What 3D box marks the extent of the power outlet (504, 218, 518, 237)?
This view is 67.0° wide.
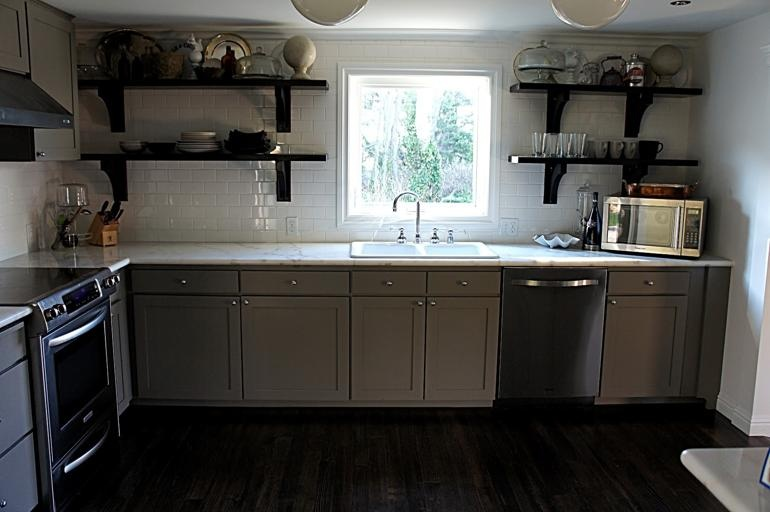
[{"bbox_3d":[1.061,-0.237,4.860,0.143,0.130,0.034,-4,8,-8],"label":"power outlet"}]

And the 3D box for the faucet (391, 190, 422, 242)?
[{"bbox_3d":[0.182,-0.341,4.813,0.245,0.407,0.362,1,11,1],"label":"faucet"}]

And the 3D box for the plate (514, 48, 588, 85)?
[{"bbox_3d":[1.279,-1.474,4.511,0.385,0.247,0.355,0,5,-6],"label":"plate"}]

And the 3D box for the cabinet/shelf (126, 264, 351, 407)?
[{"bbox_3d":[-1.027,0.602,4.479,1.675,1.019,0.536,-1,1,6],"label":"cabinet/shelf"}]

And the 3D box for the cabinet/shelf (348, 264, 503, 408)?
[{"bbox_3d":[0.231,0.605,4.495,1.210,1.047,0.572,2,-4,-20],"label":"cabinet/shelf"}]

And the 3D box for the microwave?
[{"bbox_3d":[2.117,-0.254,4.540,0.712,0.459,0.450,7,16,35],"label":"microwave"}]

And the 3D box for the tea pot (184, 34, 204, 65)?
[{"bbox_3d":[-1.486,-1.618,4.540,0.122,0.238,0.128,0,11,0],"label":"tea pot"}]

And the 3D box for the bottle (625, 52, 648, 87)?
[{"bbox_3d":[1.993,-1.479,4.635,0.206,0.261,0.160,-2,14,5],"label":"bottle"}]

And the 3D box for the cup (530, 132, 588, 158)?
[{"bbox_3d":[1.388,-0.879,4.599,0.312,0.124,0.232,-1,5,-17],"label":"cup"}]

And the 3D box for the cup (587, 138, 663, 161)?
[{"bbox_3d":[1.926,-0.856,4.647,0.471,0.124,0.251,2,4,13],"label":"cup"}]

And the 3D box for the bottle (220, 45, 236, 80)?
[{"bbox_3d":[-1.211,-1.502,4.481,0.120,0.267,0.264,-3,11,-15],"label":"bottle"}]

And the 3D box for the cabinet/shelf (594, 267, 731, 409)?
[{"bbox_3d":[2.083,0.594,4.764,1.089,1.415,0.975,0,2,4],"label":"cabinet/shelf"}]

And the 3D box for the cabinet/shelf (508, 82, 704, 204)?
[{"bbox_3d":[1.778,-0.948,4.728,1.423,0.874,0.482,11,22,35],"label":"cabinet/shelf"}]
